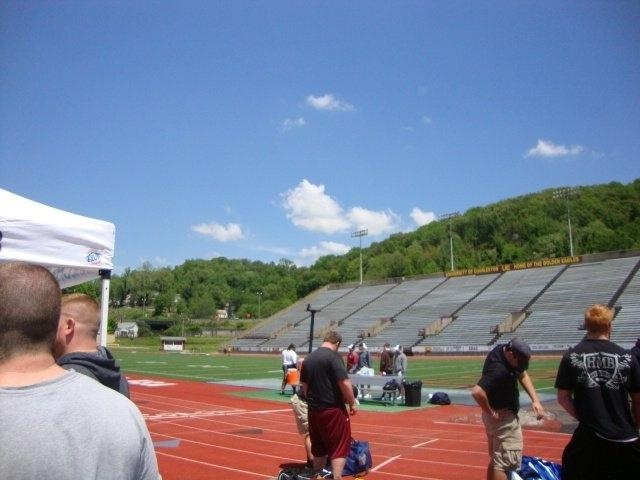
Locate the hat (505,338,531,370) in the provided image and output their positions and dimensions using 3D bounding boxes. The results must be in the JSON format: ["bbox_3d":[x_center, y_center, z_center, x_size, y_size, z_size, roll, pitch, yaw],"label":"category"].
[{"bbox_3d":[2.188,1.267,5.706,0.239,0.330,0.279,-5,-8,20],"label":"hat"}]

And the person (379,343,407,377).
[{"bbox_3d":[2.401,3.930,17.048,0.669,1.024,1.600,-2,-8,-2],"label":"person"}]

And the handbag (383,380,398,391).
[{"bbox_3d":[2.096,4.277,15.317,0.433,0.287,0.549,-3,-8,7],"label":"handbag"}]

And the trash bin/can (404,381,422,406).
[{"bbox_3d":[2.854,4.532,15.279,0.599,0.680,0.602,7,-19,-22],"label":"trash bin/can"}]

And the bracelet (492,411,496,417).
[{"bbox_3d":[1.939,1.929,5.753,0.022,0.074,0.030,0,13,27],"label":"bracelet"}]
